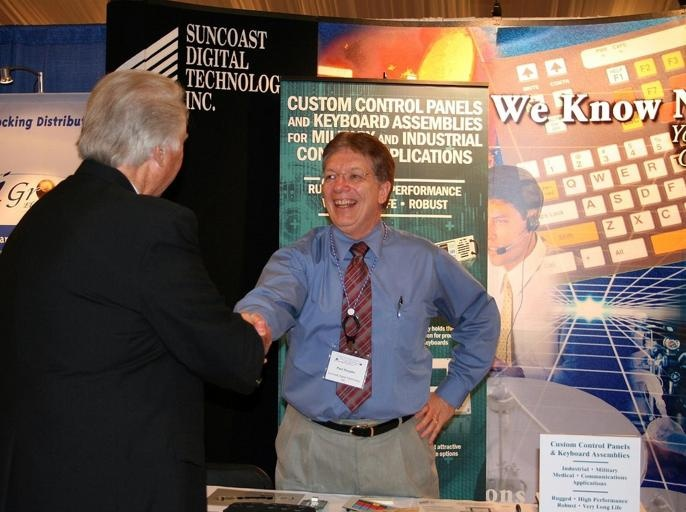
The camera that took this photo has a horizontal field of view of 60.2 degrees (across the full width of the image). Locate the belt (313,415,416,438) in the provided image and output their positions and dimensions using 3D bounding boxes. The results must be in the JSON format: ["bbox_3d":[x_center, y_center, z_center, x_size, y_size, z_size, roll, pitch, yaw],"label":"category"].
[{"bbox_3d":[0.092,0.724,2.491,0.413,0.067,0.074,-2,2,-7],"label":"belt"}]

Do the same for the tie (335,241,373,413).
[{"bbox_3d":[0.049,0.299,2.570,0.157,0.697,0.227,-2,2,4],"label":"tie"}]

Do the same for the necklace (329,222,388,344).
[{"bbox_3d":[0.054,0.160,2.539,0.148,0.723,0.035,11,28,13],"label":"necklace"}]
